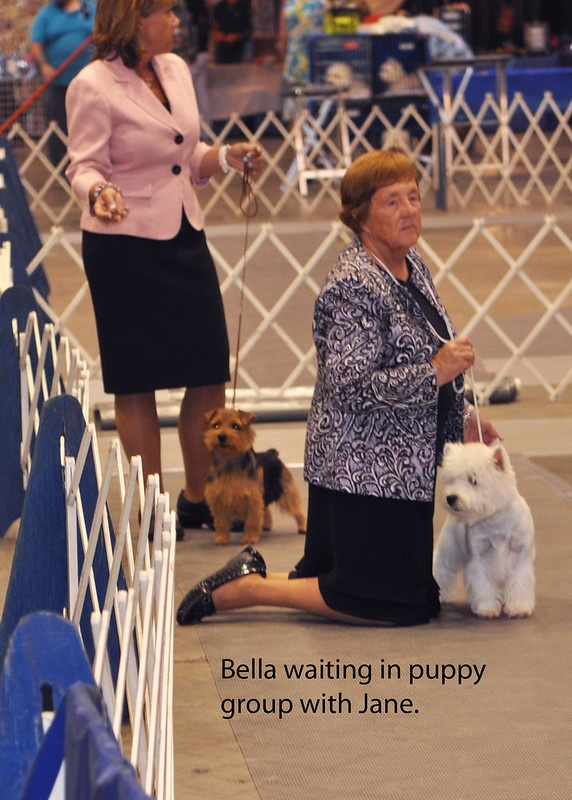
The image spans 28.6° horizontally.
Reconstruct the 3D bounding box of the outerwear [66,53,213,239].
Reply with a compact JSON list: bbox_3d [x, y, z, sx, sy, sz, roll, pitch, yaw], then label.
[{"bbox_3d":[-0.455,-0.731,3.224,0.265,0.545,0.538,3,11,27],"label":"outerwear"}]

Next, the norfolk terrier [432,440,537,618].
[{"bbox_3d":[0.519,0.324,2.972,0.258,0.462,0.510,0,5,8],"label":"norfolk terrier"}]

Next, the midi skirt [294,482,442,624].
[{"bbox_3d":[0.207,0.375,2.893,0.381,0.310,0.251,7,6,7],"label":"midi skirt"}]

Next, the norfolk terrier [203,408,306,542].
[{"bbox_3d":[-0.093,0.246,3.677,0.215,0.451,0.550,2,3,25],"label":"norfolk terrier"}]
